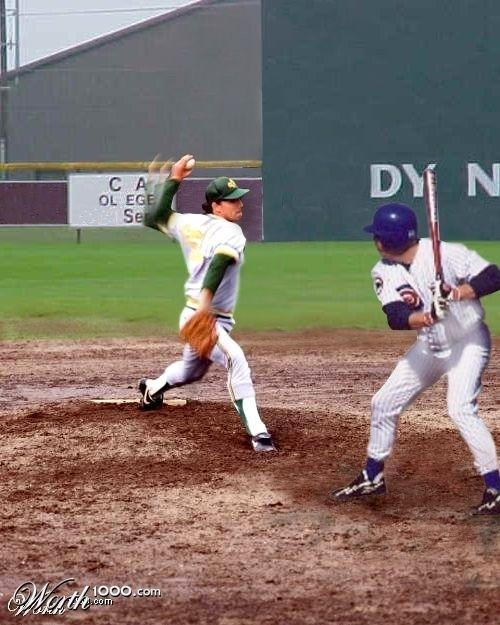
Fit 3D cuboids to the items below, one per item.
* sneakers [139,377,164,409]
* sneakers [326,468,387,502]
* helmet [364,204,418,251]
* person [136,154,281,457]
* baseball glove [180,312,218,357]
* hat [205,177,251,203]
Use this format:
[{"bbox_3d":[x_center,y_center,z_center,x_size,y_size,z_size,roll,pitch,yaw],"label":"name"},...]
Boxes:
[{"bbox_3d":[-0.724,0.601,7.740,0.147,0.296,0.110,-1,-6,19],"label":"sneakers"},{"bbox_3d":[0.623,0.972,6.002,0.374,0.140,0.120,-9,26,5],"label":"sneakers"},{"bbox_3d":[0.724,-0.449,5.564,0.223,0.160,0.281,-16,32,-27],"label":"helmet"},{"bbox_3d":[-0.301,-0.077,7.040,0.790,1.923,1.072,-4,9,-5],"label":"person"},{"bbox_3d":[-0.325,0.128,6.635,0.241,0.264,0.140,41,50,23],"label":"baseball glove"},{"bbox_3d":[-0.148,-0.796,6.861,0.252,0.114,0.161,0,20,9],"label":"hat"}]
